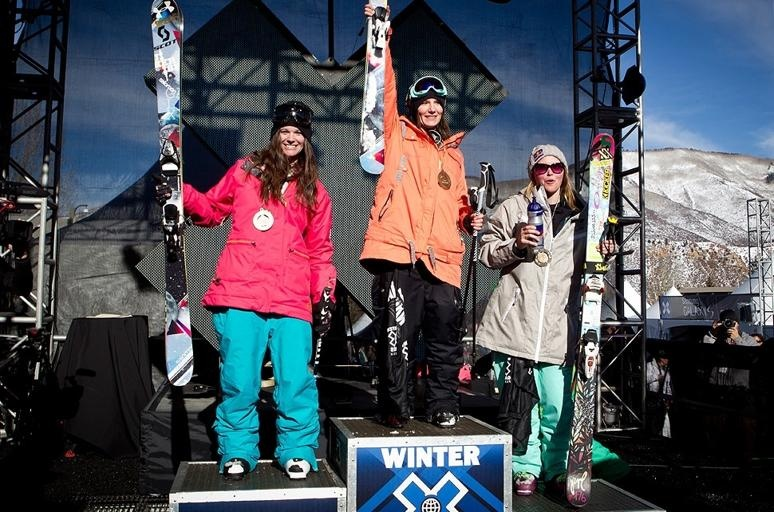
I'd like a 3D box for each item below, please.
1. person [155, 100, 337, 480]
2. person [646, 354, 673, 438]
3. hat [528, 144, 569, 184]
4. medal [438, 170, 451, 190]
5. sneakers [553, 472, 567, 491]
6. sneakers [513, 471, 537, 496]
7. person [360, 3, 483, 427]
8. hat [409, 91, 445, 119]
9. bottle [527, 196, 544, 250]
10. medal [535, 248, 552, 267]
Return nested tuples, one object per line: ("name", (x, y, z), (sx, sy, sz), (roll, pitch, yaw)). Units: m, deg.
("person", (-1.089, 0.236, 6.262), (1.209, 3.372, 0.517), (2, -1, -6))
("person", (3.842, 1.883, 9.832), (0.339, 1.102, 1.348), (1, -1, 20))
("hat", (1.505, -0.933, 6.652), (0.288, 0.316, 0.247), (-4, 42, 0))
("medal", (0.532, -0.716, 6.504), (0.147, 0.162, 0.031), (3, -7, -37))
("sneakers", (1.566, 2.059, 6.281), (0.136, 0.106, 0.128), (-1, -11, -5))
("sneakers", (1.254, 2.080, 6.308), (0.216, 0.196, 0.076), (2, -1, -4))
("person", (0.258, -0.197, 6.466), (0.916, 3.511, 0.328), (2, -1, -2))
("hat", (0.363, -1.471, 6.563), (0.193, 0.283, 0.213), (1, 21, -5))
("bottle", (1.359, -0.304, 6.373), (0.150, 0.493, 0.223), (2, -1, 13))
("medal", (1.429, 0.015, 6.403), (0.146, 0.166, 0.040), (2, -2, 2))
